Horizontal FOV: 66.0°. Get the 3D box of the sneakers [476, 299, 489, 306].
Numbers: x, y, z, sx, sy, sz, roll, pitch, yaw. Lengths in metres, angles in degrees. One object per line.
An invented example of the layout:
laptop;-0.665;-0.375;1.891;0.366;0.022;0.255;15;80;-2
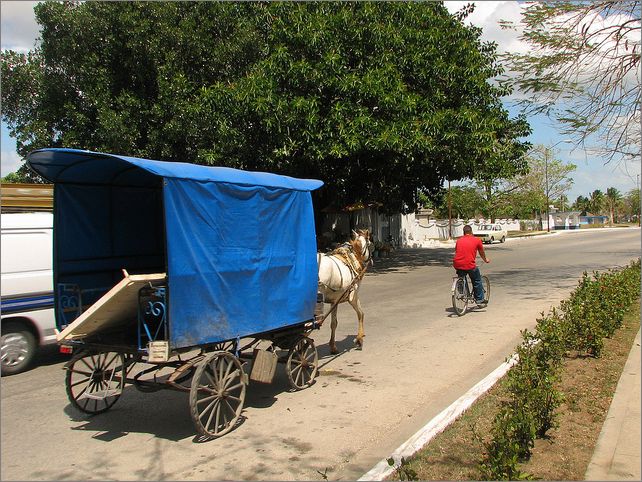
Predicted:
sneakers;4.483;1.700;13.757;0.355;0.182;0.183;-5;0;30
